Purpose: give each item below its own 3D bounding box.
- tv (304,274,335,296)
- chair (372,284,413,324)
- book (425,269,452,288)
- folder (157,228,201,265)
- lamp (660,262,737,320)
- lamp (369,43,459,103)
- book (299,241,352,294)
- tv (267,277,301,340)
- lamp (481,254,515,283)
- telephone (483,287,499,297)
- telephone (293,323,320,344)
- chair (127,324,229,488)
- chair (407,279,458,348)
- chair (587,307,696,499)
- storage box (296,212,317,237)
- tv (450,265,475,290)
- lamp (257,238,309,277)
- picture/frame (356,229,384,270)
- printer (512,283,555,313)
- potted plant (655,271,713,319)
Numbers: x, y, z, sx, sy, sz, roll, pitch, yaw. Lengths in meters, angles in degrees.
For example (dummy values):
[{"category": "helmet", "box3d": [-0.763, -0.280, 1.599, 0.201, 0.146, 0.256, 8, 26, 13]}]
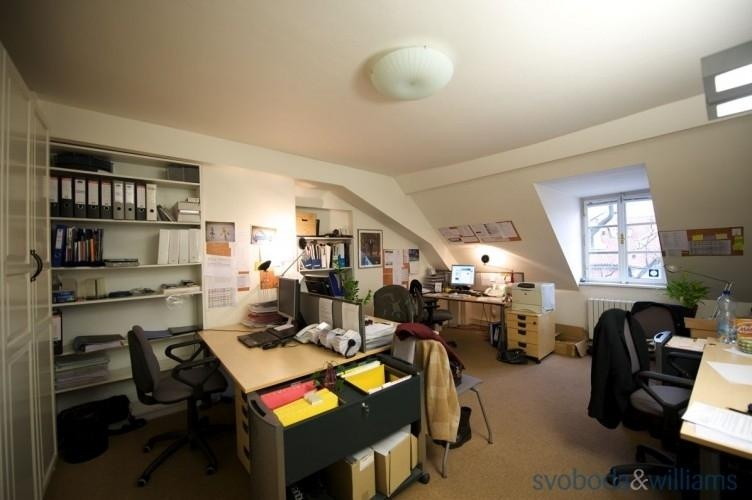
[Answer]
[{"category": "tv", "box3d": [-0.586, 0.385, 4.948, 0.304, 0.220, 0.352, -3, 1, -8]}, {"category": "chair", "box3d": [0.228, 0.684, 5.957, 0.416, 0.573, 0.476, -3, -2, 11]}, {"category": "book", "box3d": [1.026, 0.462, 7.928, 0.337, 0.328, 0.364, 3, 3, 12]}, {"category": "folder", "box3d": [-2.094, -0.022, 5.184, 0.489, 0.476, 0.354, -1, 0, -32]}, {"category": "lamp", "box3d": [3.757, 0.478, 5.770, 0.549, 0.743, 0.732, -3, 2, -28]}, {"category": "lamp", "box3d": [0.309, -1.508, 4.072, 0.673, 0.416, 0.333, -3, 0, 6]}, {"category": "book", "box3d": [-0.656, 0.236, 6.023, 0.229, 0.637, 0.695, -4, -1, 25]}, {"category": "tv", "box3d": [-0.956, 0.639, 4.988, 0.295, 0.537, 0.540, 3, -4, -30]}, {"category": "lamp", "box3d": [1.859, 0.295, 7.470, 0.205, 0.416, 0.602, -3, 1, -35]}, {"category": "telephone", "box3d": [1.728, 0.628, 7.150, 0.156, 0.114, 0.216, -3, 1, -15]}, {"category": "telephone", "box3d": [-0.654, 0.817, 4.608, 0.162, 0.067, 0.224, 2, 5, 35]}, {"category": "chair", "box3d": [-1.903, 1.294, 4.934, 1.273, 1.505, 1.165, -2, 5, -28]}, {"category": "chair", "box3d": [0.765, 0.890, 6.993, 0.791, 1.062, 0.931, -4, 0, 8]}, {"category": "chair", "box3d": [2.350, 1.271, 4.233, 0.777, 1.480, 0.710, -2, 0, 33]}, {"category": "storage box", "box3d": [-0.941, -0.325, 6.433, 0.324, 0.309, 0.173, 1, -2, -41]}, {"category": "tv", "box3d": [1.372, 0.440, 7.515, 0.355, 0.363, 0.128, -2, -11, 38]}, {"category": "lamp", "box3d": [-1.035, 0.094, 5.811, 0.499, 0.467, 1.004, -2, 1, 23]}, {"category": "picture/frame", "box3d": [-0.104, 0.002, 7.030, 0.575, 0.721, 0.050, 4, -7, -44]}, {"category": "printer", "box3d": [2.151, 0.635, 6.454, 0.415, 0.328, 0.426, -2, -4, 43]}, {"category": "potted plant", "box3d": [3.716, 0.555, 5.734, 0.478, 0.514, 0.501, 1, -3, -43]}]
